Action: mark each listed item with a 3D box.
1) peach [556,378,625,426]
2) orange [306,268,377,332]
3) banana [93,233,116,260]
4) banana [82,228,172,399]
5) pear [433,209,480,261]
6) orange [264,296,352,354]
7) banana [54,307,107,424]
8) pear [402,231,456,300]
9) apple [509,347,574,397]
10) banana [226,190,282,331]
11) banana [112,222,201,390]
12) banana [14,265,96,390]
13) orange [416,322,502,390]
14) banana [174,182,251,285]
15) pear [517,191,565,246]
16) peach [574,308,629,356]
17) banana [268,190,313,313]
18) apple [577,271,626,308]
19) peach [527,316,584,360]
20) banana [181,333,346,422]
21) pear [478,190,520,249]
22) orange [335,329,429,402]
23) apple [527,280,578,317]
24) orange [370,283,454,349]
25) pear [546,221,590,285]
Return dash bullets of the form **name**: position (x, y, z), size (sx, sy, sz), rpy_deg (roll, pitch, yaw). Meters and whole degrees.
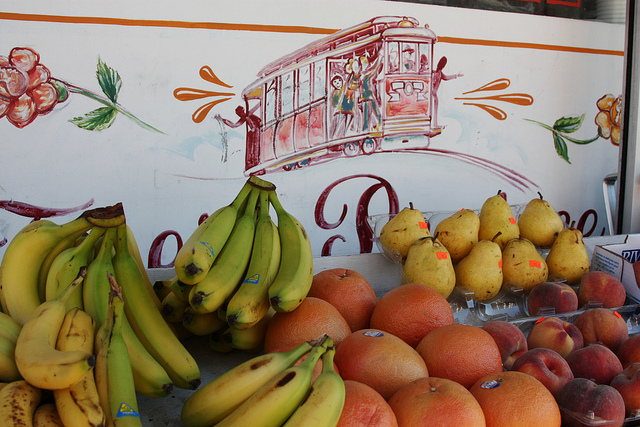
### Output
- **peach**: position (0.683, 0.479, 1.342), size (0.125, 0.133, 0.129), rpy_deg (-12, -20, -6)
- **orange**: position (0.076, 0.239, 1.548), size (0.167, 0.167, 0.173), rpy_deg (18, 19, 13)
- **banana**: position (-0.614, 0.096, 1.461), size (0.046, 0.065, 0.019), rpy_deg (-11, -27, 31)
- **banana**: position (-0.517, 0.280, 1.356), size (0.083, 0.442, 0.149), rpy_deg (-14, 8, -41)
- **pear**: position (0.509, 0.072, 1.891), size (0.140, 0.188, 0.138), rpy_deg (41, -6, -15)
- **orange**: position (-0.029, 0.252, 1.427), size (0.171, 0.182, 0.178), rpy_deg (4, 16, 29)
- **banana**: position (-0.561, 0.385, 1.213), size (0.084, 0.329, 0.100), rpy_deg (4, -25, -26)
- **pear**: position (0.377, 0.181, 1.719), size (0.178, 0.281, 0.192), rpy_deg (3, -9, 14)
- **apple**: position (0.601, 0.418, 1.407), size (0.121, 0.129, 0.120), rpy_deg (19, -35, -11)
- **banana**: position (-0.186, 0.122, 1.515), size (0.133, 0.417, 0.089), rpy_deg (27, -33, -34)
- **banana**: position (-0.482, 0.276, 1.494), size (0.074, 0.433, 0.145), rpy_deg (-24, -1, -17)
- **banana**: position (-0.644, 0.288, 1.240), size (0.085, 0.176, 0.264), rpy_deg (33, 20, -26)
- **orange**: position (0.398, 0.390, 1.424), size (0.187, 0.197, 0.209), rpy_deg (-9, 17, 0)
- **banana**: position (-0.297, 0.063, 1.514), size (0.094, 0.367, 0.130), rpy_deg (-25, -67, 45)
- **pear**: position (0.859, 0.019, 2.013), size (0.152, 0.228, 0.161), rpy_deg (10, 0, 23)
- **peach**: position (0.848, 0.377, 1.555), size (0.123, 0.131, 0.120), rpy_deg (-9, -40, 29)
- **banana**: position (-0.117, 0.105, 1.553), size (0.099, 0.423, 0.140), rpy_deg (-28, -44, 22)
- **apple**: position (0.935, 0.261, 1.724), size (0.120, 0.118, 0.125), rpy_deg (24, -33, 20)
- **peach**: position (0.671, 0.356, 1.465), size (0.114, 0.126, 0.121), rpy_deg (-2, -30, 13)
- **banana**: position (-0.133, 0.436, 1.233), size (0.333, 0.214, 0.085), rpy_deg (-25, -38, 7)
- **pear**: position (0.677, 0.025, 1.956), size (0.158, 0.246, 0.168), rpy_deg (10, 15, 42)
- **orange**: position (0.156, 0.372, 1.359), size (0.190, 0.148, 0.155), rpy_deg (33, 25, 21)
- **apple**: position (0.760, 0.268, 1.693), size (0.117, 0.126, 0.114), rpy_deg (7, 3, -28)
- **orange**: position (0.256, 0.282, 1.430), size (0.180, 0.191, 0.173), rpy_deg (-5, 0, -4)
- **pear**: position (0.902, 0.155, 1.856), size (0.162, 0.205, 0.107), rpy_deg (0, 1, 7)
